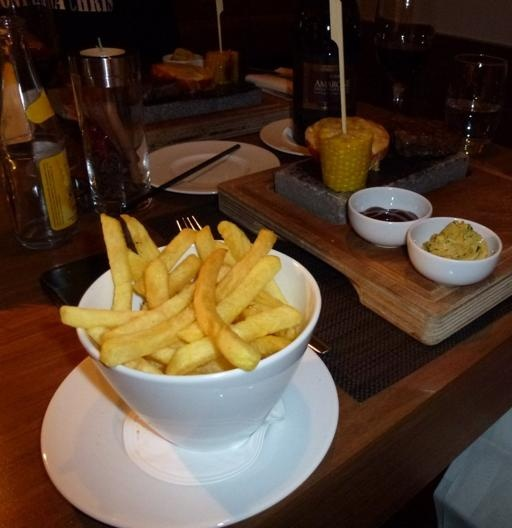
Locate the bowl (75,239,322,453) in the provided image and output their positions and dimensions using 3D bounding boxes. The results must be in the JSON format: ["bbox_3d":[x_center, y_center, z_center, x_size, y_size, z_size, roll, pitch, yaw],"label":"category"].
[{"bbox_3d":[-0.038,0.061,0.367,0.182,0.110,0.186,-1,28,0],"label":"bowl"}]

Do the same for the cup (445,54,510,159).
[{"bbox_3d":[0.583,-0.418,1.271,0.154,0.318,0.159,3,28,-2],"label":"cup"}]

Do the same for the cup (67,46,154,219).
[{"bbox_3d":[-0.295,-0.269,0.957,0.137,0.351,0.167,25,37,35],"label":"cup"}]

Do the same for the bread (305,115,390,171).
[{"bbox_3d":[0.188,-0.284,0.946,0.166,0.127,0.126,-9,27,-15],"label":"bread"}]

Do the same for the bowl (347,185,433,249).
[{"bbox_3d":[0.225,-0.091,0.758,0.161,0.113,0.128,-6,27,-17],"label":"bowl"}]

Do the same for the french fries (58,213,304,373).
[{"bbox_3d":[-0.079,0.030,0.465,0.193,0.120,0.148,-10,37,-23],"label":"french fries"}]
